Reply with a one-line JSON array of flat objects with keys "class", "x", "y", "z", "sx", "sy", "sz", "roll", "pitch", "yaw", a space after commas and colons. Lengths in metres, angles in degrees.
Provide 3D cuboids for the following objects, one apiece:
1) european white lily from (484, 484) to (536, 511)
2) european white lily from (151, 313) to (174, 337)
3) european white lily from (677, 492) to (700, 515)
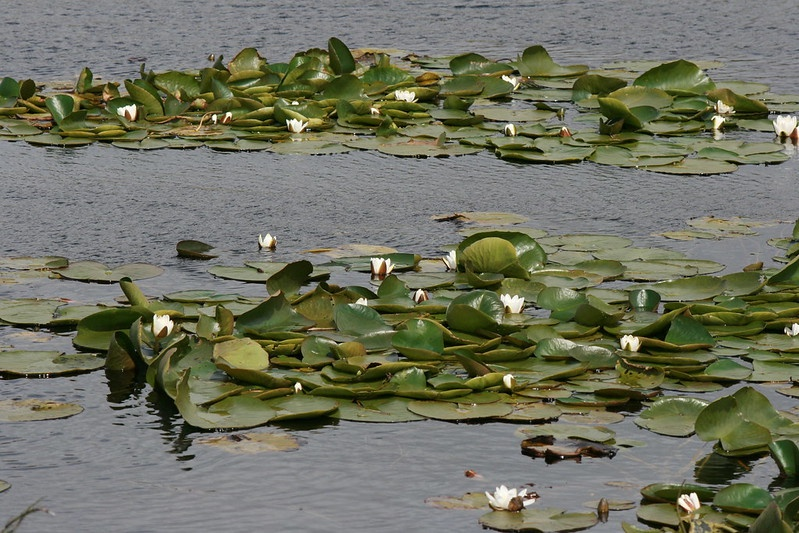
[{"class": "european white lily", "x": 0.454, "y": 0.918, "z": 4.704, "sx": 0.213, "sy": 0.097, "sz": 0.149, "roll": 0, "pitch": 15, "yaw": 6}, {"class": "european white lily", "x": -1.128, "y": 0.287, "z": 5.501, "sx": 0.063, "sy": 0.103, "sz": 0.097, "roll": 13, "pitch": 23, "yaw": 35}, {"class": "european white lily", "x": 1.149, "y": 0.936, "z": 4.611, "sx": 0.048, "sy": 0.081, "sz": 0.063, "roll": -20, "pitch": 26, "yaw": -39}]
